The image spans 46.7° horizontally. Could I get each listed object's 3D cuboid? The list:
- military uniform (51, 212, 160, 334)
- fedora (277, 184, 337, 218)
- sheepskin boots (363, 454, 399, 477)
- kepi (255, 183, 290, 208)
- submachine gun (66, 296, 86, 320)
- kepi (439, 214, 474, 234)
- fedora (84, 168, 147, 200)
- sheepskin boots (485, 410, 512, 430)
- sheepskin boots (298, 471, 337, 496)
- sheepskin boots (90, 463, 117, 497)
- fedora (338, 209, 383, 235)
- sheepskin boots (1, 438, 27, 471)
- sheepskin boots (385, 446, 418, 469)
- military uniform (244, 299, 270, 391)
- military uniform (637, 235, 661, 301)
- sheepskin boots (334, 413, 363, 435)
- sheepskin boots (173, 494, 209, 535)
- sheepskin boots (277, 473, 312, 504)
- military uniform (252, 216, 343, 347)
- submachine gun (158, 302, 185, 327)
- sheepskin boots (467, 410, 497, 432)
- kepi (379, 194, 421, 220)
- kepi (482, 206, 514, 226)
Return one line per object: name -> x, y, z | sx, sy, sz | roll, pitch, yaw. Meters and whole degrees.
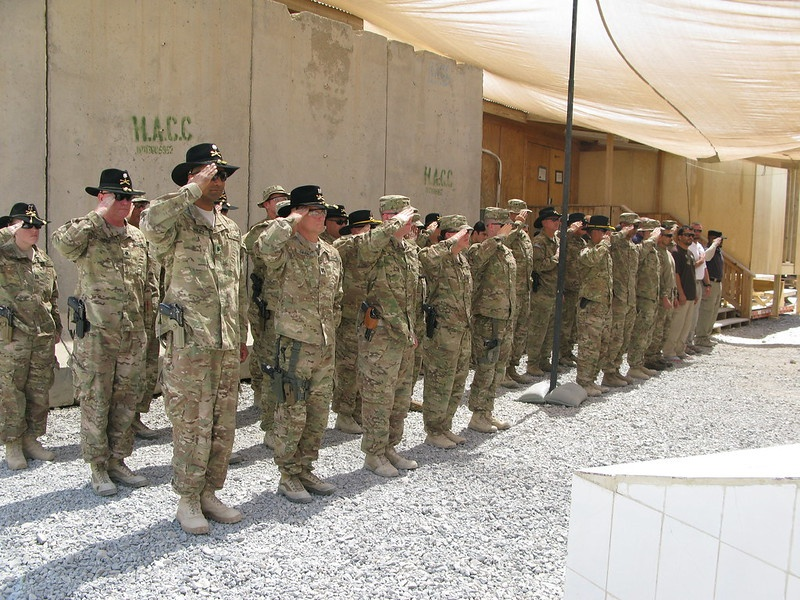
military uniform -> -2.752, -0.241, 8.740 | 0.593, 1.128, 1.061 | -18, -18, 36
fedora -> -0.913, -0.915, 8.401 | 0.405, 0.178, 0.366 | -4, 8, 9
sheepskin boots -> -0.191, 1.608, 9.034 | 0.309, 0.210, 0.156 | 2, 5, 37
kepi -> -1.397, -1.131, 9.988 | 0.263, 0.121, 0.335 | -25, 0, -38
submachine gun -> -2.997, 0.086, 8.564 | 0.110, 0.211, 0.222 | -10, 20, -41
kepi -> 0.566, -0.813, 9.892 | 0.254, 0.118, 0.184 | 8, 10, 30
fedora -> -2.710, -1.076, 8.611 | 0.396, 0.172, 0.365 | 2, 5, 41
sheepskin boots -> 1.022, 1.341, 10.261 | 0.403, 0.202, 0.132 | 0, 6, -26
sheepskin boots -> -0.774, 1.694, 8.550 | 0.394, 0.171, 0.152 | 3, 2, 18
sheepskin boots -> -2.697, 1.623, 8.416 | 0.201, 0.241, 0.287 | -4, 17, -25
fedora -> -0.422, -0.831, 9.647 | 0.294, 0.125, 0.265 | -20, 5, -8
sheepskin boots -> -3.651, 1.482, 8.790 | 0.158, 0.217, 0.234 | -6, 18, -30
sheepskin boots -> -0.006, 1.575, 9.252 | 0.388, 0.279, 0.144 | 0, 3, 16
military uniform -> -1.523, 0.527, 9.784 | 0.247, 1.064, 0.405 | 4, 12, 17
military uniform -> 3.412, -0.403, 12.720 | 0.320, 0.804, 0.850 | 1, -1, 11
sheepskin boots -> -0.527, 1.357, 10.045 | 0.345, 0.247, 0.152 | 0, 1, 29
sheepskin boots -> -1.785, 1.838, 7.888 | 0.159, 0.280, 0.436 | 0, -3, -37
sheepskin boots -> -0.965, 1.713, 8.387 | 0.368, 0.183, 0.158 | 10, 10, 38
military uniform -> -0.957, -0.149, 8.552 | 0.517, 0.997, 0.963 | -16, -25, 39
submachine gun -> -1.923, 0.115, 7.796 | 0.191, 0.196, 0.090 | -36, -11, 30
sheepskin boots -> 0.894, 1.351, 10.220 | 0.376, 0.300, 0.145 | 1, 3, 14
kepi -> -0.028, -0.869, 9.148 | 0.315, 0.309, 0.262 | -10, 5, 26
kepi -> 1.078, -0.944, 10.429 | 0.267, 0.155, 0.209 | 2, 11, 17
